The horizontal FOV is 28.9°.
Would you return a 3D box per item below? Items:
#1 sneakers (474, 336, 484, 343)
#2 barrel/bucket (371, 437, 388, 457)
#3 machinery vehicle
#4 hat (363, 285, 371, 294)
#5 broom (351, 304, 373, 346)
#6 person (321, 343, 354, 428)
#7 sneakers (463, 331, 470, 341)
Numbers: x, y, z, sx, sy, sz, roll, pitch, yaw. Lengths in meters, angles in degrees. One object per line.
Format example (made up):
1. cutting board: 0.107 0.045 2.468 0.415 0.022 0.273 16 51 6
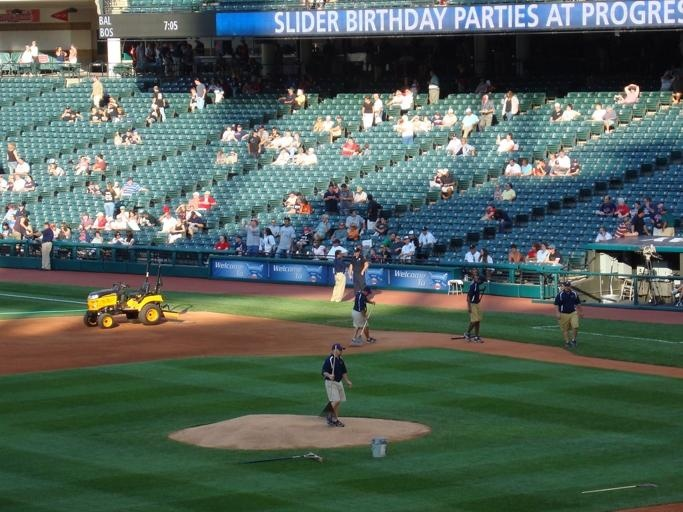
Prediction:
1. sneakers: 4.259 2.527 41.152 0.299 0.232 0.587 0 12 4
2. barrel/bucket: 0.981 4.528 31.618 0.446 0.489 0.431 -1 5 0
3. machinery vehicle: -6.987 1.219 43.366 2.657 2.004 1.399 -5 9 -39
4. hat: 0.832 1.037 40.714 0.245 0.128 0.176 -3 19 -45
5. broom: 0.647 2.091 40.746 0.637 1.201 1.003 0 12 4
6. person: -0.145 3.218 33.175 0.664 2.051 0.752 -1 13 0
7. sneakers: 3.913 2.430 41.166 0.165 0.268 0.378 -1 12 1
